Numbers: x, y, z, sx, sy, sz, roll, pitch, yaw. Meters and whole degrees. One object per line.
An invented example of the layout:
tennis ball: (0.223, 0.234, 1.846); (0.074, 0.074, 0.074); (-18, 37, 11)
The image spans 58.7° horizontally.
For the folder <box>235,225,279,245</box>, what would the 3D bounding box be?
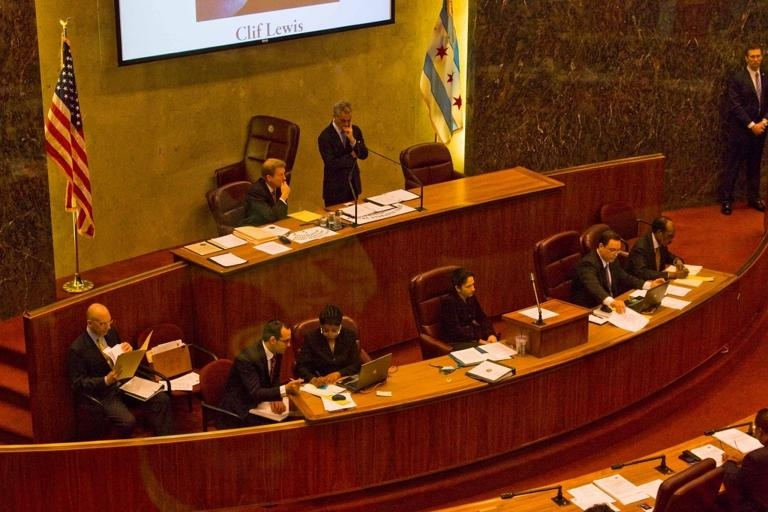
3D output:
folder: (-1.315, -0.223, 6.988); (0.317, 0.097, 0.432); (-16, 22, -37)

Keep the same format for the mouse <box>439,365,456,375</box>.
mouse: (0.534, 0.940, 5.680); (0.141, 0.034, 0.093); (-11, 20, -27)

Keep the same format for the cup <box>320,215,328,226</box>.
cup: (-0.626, -0.375, 7.199); (0.086, 0.101, 0.084); (0, 12, 0)

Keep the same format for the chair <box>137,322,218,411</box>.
chair: (-1.884, 1.013, 6.176); (0.444, 0.690, 0.458); (-25, 35, -35)

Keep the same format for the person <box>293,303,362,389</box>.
person: (-0.462, 0.937, 5.934); (0.552, 0.923, 0.481); (-11, 29, -20)

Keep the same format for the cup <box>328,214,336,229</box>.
cup: (-0.538, -0.353, 7.059); (0.073, 0.132, 0.119); (-3, 17, -4)

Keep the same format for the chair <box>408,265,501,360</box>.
chair: (0.641, 0.498, 6.696); (0.700, 1.071, 0.844); (-14, 16, -26)

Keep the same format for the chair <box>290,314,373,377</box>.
chair: (-0.468, 0.825, 5.941); (0.474, 0.661, 0.503); (-9, 12, -27)

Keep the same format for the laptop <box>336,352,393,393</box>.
laptop: (-0.175, 0.902, 5.507); (0.411, 0.313, 0.280); (-17, 32, -42)

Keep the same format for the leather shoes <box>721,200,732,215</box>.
leather shoes: (5.297, -0.751, 10.579); (0.091, 0.117, 0.286); (4, 28, 13)

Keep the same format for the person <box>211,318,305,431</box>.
person: (-1.086, 0.990, 5.664); (0.667, 0.786, 0.387); (-7, 17, -18)

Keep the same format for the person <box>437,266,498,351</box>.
person: (0.841, 0.536, 6.500); (0.532, 0.781, 0.580); (-1, 14, 0)

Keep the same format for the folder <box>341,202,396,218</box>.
folder: (-0.209, -0.508, 7.357); (0.291, 0.043, 0.214); (-19, 33, -35)

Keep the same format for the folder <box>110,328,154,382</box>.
folder: (-2.183, 0.923, 5.831); (0.253, 0.310, 0.390); (32, 38, 24)

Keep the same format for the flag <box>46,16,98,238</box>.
flag: (-3.379, -1.313, 7.216); (0.375, 2.170, 0.711); (-10, 18, -25)

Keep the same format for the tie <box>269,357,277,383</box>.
tie: (-0.940, 0.970, 5.817); (0.039, 0.179, 0.115); (-1, 1, -25)

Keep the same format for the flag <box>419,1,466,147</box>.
flag: (0.810, -2.553, 9.514); (0.574, 1.912, 0.339); (-3, 16, -5)

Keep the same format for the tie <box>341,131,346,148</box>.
tie: (-0.472, -1.361, 7.909); (0.029, 0.138, 0.129); (2, 16, 29)

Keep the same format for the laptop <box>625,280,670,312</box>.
laptop: (2.471, 0.339, 6.545); (0.368, 0.306, 0.245); (-18, 38, -37)

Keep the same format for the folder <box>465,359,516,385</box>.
folder: (0.871, 0.947, 5.622); (0.198, 0.053, 0.203); (15, 26, 39)

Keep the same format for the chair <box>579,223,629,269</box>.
chair: (2.365, -0.096, 7.369); (0.307, 0.452, 0.342); (-18, 29, -30)

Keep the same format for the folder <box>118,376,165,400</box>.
folder: (-2.090, 1.144, 5.911); (0.205, 0.055, 0.225); (14, 26, 17)
